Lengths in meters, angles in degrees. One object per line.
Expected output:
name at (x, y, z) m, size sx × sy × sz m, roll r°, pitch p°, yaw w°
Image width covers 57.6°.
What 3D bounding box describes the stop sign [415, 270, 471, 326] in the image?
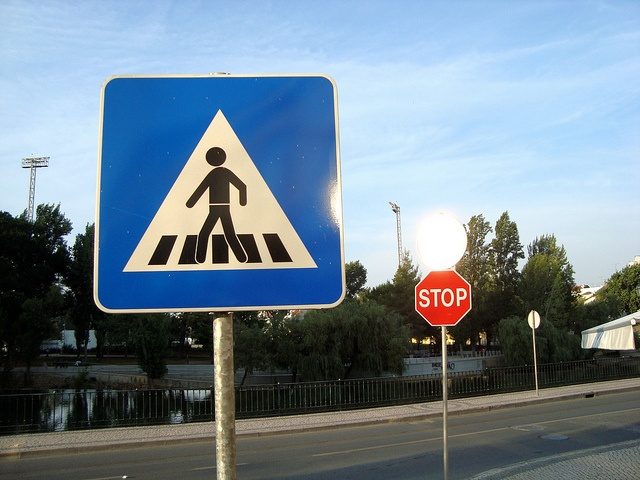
stop sign at (2.721, 1.305, 12.886) m, size 1.147 × 1.219 × 0.401 m, roll -3°, pitch -8°, yaw 3°
